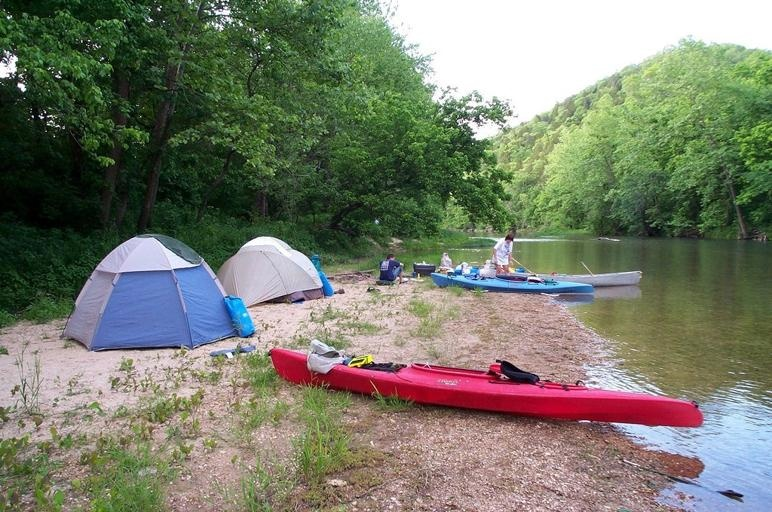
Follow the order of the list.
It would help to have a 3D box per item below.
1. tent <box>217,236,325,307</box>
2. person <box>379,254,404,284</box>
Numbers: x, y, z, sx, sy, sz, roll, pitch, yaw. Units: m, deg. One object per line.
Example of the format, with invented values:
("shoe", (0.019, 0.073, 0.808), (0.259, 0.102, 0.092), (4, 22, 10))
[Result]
("tent", (-3.792, 0.422, 19.883), (2.401, 1.175, 2.800), (1, 3, 8))
("person", (0.048, 0.518, 24.364), (0.930, 1.188, 1.247), (8, 15, 27))
